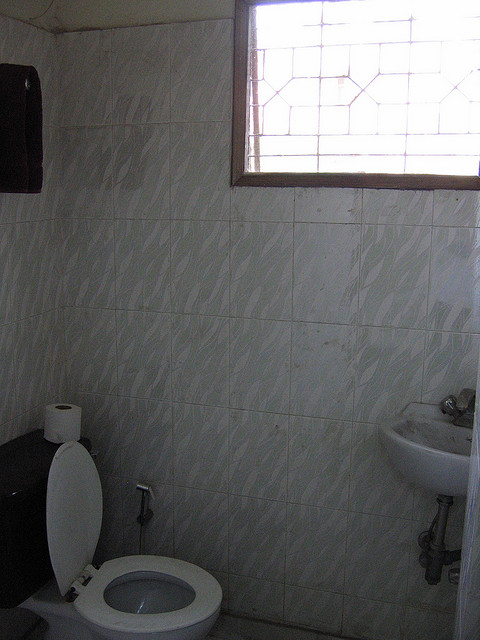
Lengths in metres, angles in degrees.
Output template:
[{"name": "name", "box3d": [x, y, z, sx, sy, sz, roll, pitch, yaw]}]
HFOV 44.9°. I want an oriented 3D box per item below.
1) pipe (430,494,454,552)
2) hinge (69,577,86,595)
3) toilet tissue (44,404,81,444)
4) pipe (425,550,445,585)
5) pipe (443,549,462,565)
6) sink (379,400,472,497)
[{"name": "pipe", "box3d": [0.633, 0.636, 1.839, 0.072, 0.196, 0.059, 4, 6, 40]}, {"name": "hinge", "box3d": [-0.489, 0.798, 1.740, 0.018, 0.013, 0.043, 25, 15, -2]}, {"name": "toilet tissue", "box3d": [-0.616, 0.354, 2.001, 0.101, 0.124, 0.131, 10, 5, 4]}, {"name": "pipe", "box3d": [0.623, 0.799, 1.866, 0.056, 0.118, 0.041, 3, 5, 25]}, {"name": "pipe", "box3d": [0.673, 0.754, 1.847, 0.032, 0.026, 0.053, -2, -2, 16]}, {"name": "sink", "box3d": [0.556, 0.389, 1.738, 0.270, 0.235, 0.358, 3, 6, 15]}]
